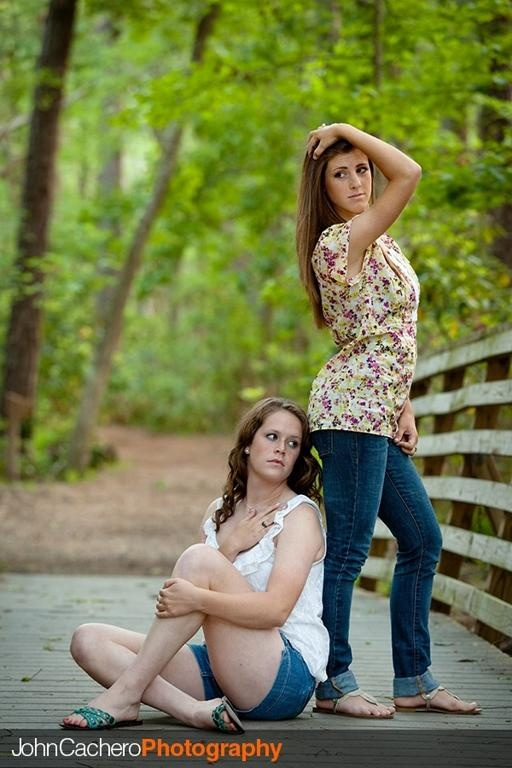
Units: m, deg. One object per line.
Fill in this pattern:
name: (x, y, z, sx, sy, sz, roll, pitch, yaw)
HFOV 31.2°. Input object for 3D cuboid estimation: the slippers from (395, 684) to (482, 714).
slippers: (0.486, 0.848, 2.476, 0.208, 0.063, 0.080, -1, -4, 6)

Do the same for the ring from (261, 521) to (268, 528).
ring: (0.021, 0.369, 2.397, 0.018, 0.013, 0.015, -1, -19, 4)

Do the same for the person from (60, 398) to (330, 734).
person: (-0.075, 0.463, 2.357, 0.568, 0.802, 0.732, 15, 12, 25)

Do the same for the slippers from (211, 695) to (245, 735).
slippers: (-0.072, 0.790, 2.183, 0.077, 0.069, 0.018, -20, 15, 44)

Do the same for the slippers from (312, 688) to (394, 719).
slippers: (0.263, 0.843, 2.424, 0.163, 0.046, 0.080, -1, -4, 14)

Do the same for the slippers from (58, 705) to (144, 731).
slippers: (-0.383, 0.792, 2.183, 0.146, 0.029, 0.067, 6, -11, -19)
